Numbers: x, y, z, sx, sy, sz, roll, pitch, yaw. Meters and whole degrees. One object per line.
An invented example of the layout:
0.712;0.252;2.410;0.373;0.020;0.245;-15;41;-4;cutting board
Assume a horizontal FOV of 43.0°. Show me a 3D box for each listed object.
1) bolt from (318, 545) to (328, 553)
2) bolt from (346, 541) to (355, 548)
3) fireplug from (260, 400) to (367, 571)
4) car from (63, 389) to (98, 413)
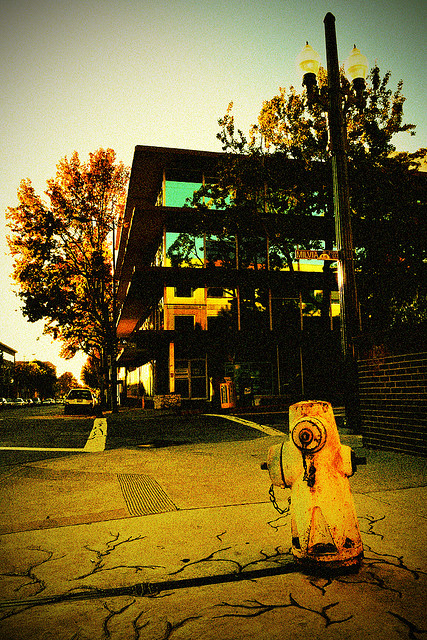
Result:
0.671;1.398;3.322;0.056;0.047;0.012;0;-8;3;bolt
0.847;1.382;3.347;0.068;0.043;0.005;5;-10;-31;bolt
0.641;1.095;3.766;0.824;1.064;0.694;-5;-10;33;fireplug
-7.111;4.343;29.295;1.039;1.043;1.913;0;-3;-4;car
